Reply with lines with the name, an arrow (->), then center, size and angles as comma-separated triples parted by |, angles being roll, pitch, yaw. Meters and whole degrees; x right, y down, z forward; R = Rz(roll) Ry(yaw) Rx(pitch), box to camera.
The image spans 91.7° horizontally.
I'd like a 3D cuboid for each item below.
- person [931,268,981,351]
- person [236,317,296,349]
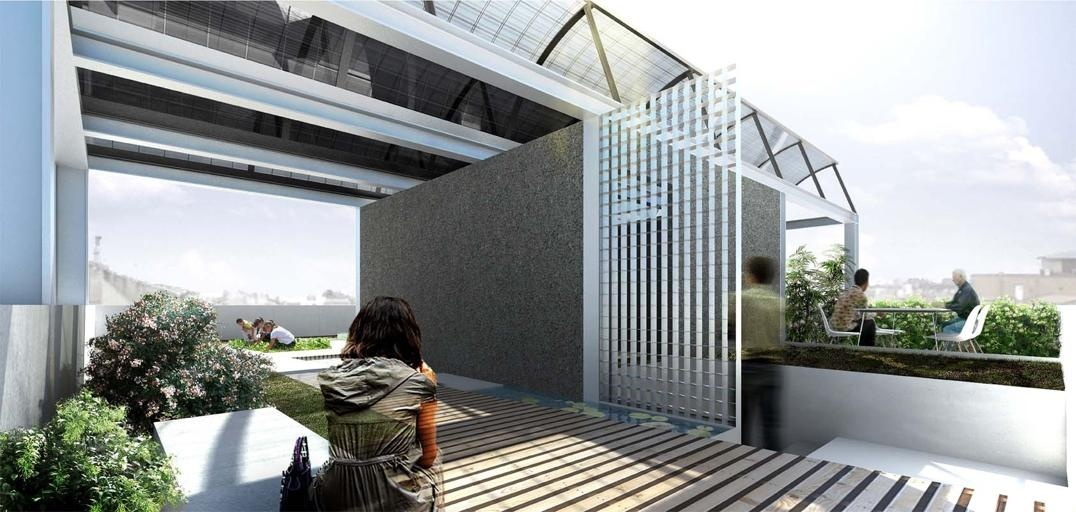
person -> 8.784, 1.076, 10.953 | 1.013, 1.574, 0.755 | 4, -8, -45
person -> -7.995, 2.311, 15.197 | 2.063, 0.699, 0.920 | 1, -2, 9
